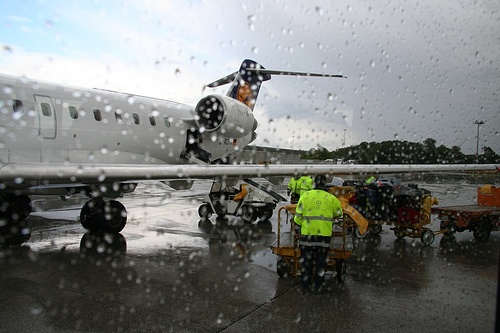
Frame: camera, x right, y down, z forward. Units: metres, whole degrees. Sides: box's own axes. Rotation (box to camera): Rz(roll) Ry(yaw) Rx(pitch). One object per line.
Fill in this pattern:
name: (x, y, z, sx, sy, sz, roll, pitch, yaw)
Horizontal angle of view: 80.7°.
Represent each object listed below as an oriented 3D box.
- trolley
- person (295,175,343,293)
trolley: (1.753, 1.692, 7.891, 1.911, 1.736, 2.809, -2, -7, 11)
person: (1.380, 1.388, 6.196, 0.894, 2.323, 0.444, 1, 3, 11)
